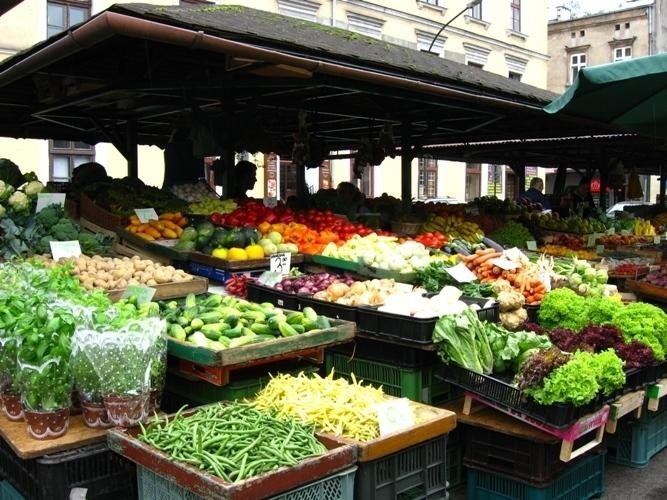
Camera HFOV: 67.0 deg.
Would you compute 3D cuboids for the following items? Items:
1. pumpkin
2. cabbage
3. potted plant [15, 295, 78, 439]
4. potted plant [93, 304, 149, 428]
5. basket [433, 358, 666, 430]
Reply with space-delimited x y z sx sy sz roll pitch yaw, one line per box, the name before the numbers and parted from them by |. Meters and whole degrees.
pumpkin | -1.324 -0.142 5.711 0.877 0.325 0.535 1 5 19
cabbage | 1.112 0.672 3.562 0.701 0.227 0.512 10 16 44
potted plant | -1.552 0.643 2.755 0.289 0.706 0.269 -3 6 -20
potted plant | -1.110 0.649 2.674 0.215 0.588 0.224 3 7 40
basket | 1.631 0.925 3.534 1.605 0.296 0.740 -2 5 -13
